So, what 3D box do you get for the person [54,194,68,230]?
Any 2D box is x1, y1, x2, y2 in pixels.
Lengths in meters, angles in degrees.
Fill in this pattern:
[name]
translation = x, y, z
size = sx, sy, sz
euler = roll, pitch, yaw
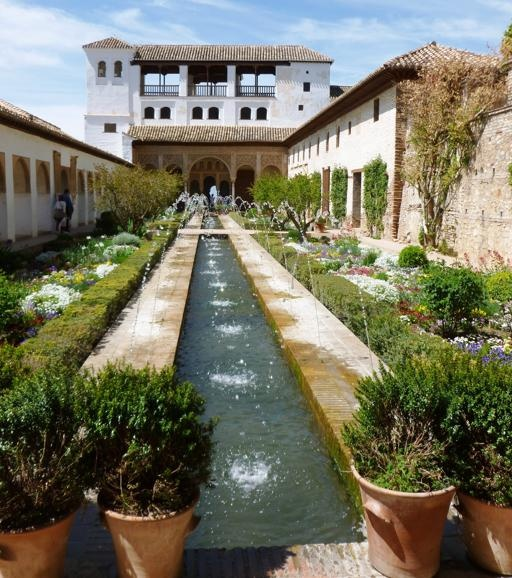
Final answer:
[person]
translation = -7.003, -2.707, 16.399
size = 0.435, 1.332, 0.742
euler = 4, 11, -23
